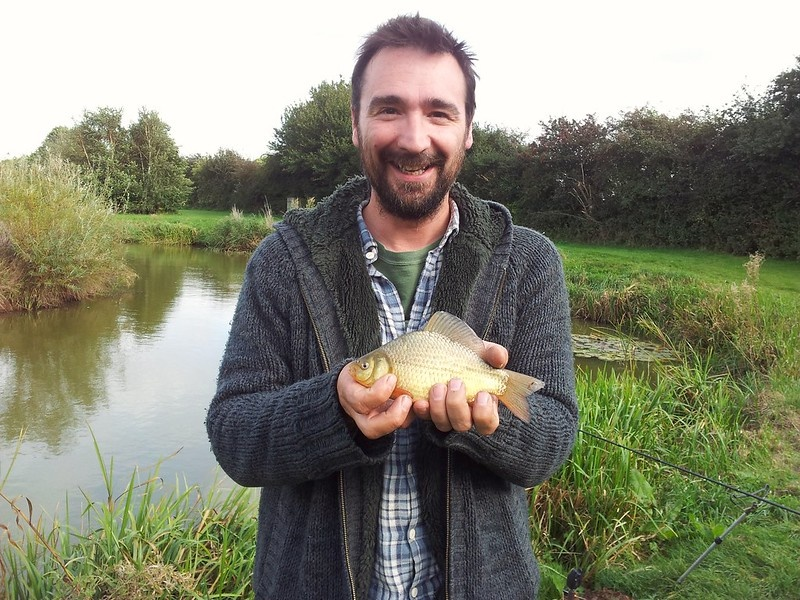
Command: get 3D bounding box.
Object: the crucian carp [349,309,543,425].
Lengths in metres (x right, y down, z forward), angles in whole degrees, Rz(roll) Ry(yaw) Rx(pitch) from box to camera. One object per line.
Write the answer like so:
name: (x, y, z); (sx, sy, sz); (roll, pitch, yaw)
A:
crucian carp: (0.239, 0.356, 2.965); (1.020, 0.644, 0.204); (13, -14, -4)

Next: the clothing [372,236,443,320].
clothing: (0.017, -0.146, 3.478); (0.501, 0.688, 0.339); (0, -2, 1)
